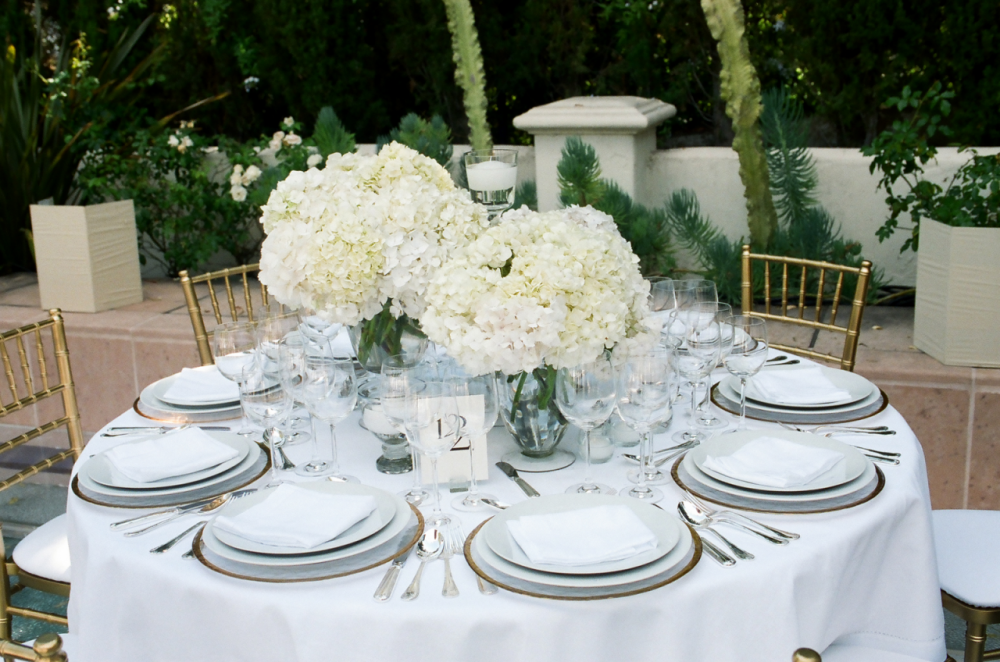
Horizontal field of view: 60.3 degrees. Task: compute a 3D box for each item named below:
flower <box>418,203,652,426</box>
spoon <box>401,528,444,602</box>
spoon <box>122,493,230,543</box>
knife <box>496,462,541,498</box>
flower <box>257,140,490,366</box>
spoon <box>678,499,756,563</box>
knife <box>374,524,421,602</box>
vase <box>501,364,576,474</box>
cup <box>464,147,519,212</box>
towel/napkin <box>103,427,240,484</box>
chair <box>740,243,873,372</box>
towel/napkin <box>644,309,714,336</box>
[{"bbox_3d":[0.088,-0.049,2.022,0.427,0.278,0.390,-7,31,-7],"label":"flower"},{"bbox_3d":[-0.162,0.490,1.821,0.037,0.029,0.190,10,25,3],"label":"spoon"},{"bbox_3d":[-0.756,0.434,1.988,0.168,0.028,0.024,-21,45,-25],"label":"spoon"},{"bbox_3d":[0.039,0.357,2.106,0.040,0.015,0.152,-20,22,-24],"label":"knife"},{"bbox_3d":[-0.303,-0.236,2.226,0.492,0.546,0.469,8,49,14],"label":"flower"},{"bbox_3d":[0.474,0.416,1.902,0.051,0.042,0.267,-8,23,-15],"label":"spoon"},{"bbox_3d":[-0.214,0.491,1.820,0.032,0.012,0.256,27,23,1],"label":"knife"},{"bbox_3d":[0.094,0.210,2.118,0.167,0.265,0.174,-18,21,-39],"label":"vase"},{"bbox_3d":[-0.012,-0.455,2.627,0.181,0.214,0.176,0,17,0],"label":"cup"},{"bbox_3d":[-0.821,0.307,2.150,0.165,0.032,0.169,-11,21,-42],"label":"towel/napkin"},{"bbox_3d":[1.262,-0.105,3.531,0.345,0.633,0.369,12,36,29],"label":"chair"},{"bbox_3d":[0.494,-0.026,2.369,0.116,0.051,0.118,5,9,41],"label":"towel/napkin"}]
